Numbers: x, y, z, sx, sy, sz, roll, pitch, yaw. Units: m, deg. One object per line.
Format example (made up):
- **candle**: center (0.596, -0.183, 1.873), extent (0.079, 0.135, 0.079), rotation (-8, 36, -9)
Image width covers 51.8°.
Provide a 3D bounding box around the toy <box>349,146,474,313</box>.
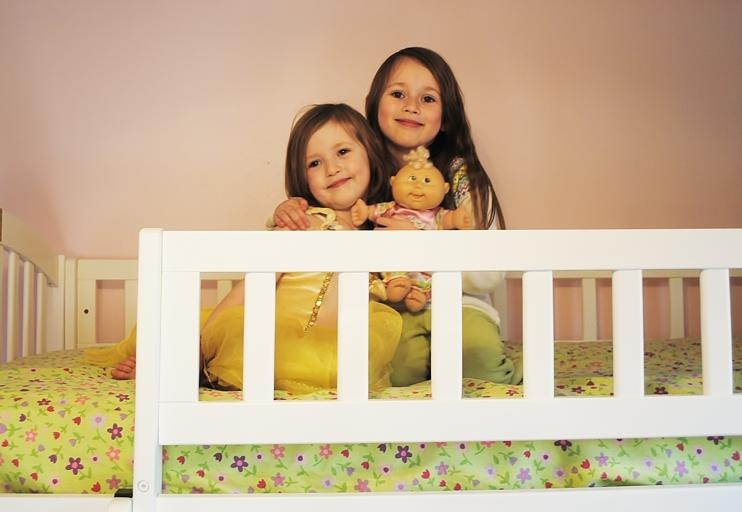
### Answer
- **toy**: center (0.104, -0.073, 2.044), extent (0.272, 0.437, 0.246), rotation (0, 7, -21)
